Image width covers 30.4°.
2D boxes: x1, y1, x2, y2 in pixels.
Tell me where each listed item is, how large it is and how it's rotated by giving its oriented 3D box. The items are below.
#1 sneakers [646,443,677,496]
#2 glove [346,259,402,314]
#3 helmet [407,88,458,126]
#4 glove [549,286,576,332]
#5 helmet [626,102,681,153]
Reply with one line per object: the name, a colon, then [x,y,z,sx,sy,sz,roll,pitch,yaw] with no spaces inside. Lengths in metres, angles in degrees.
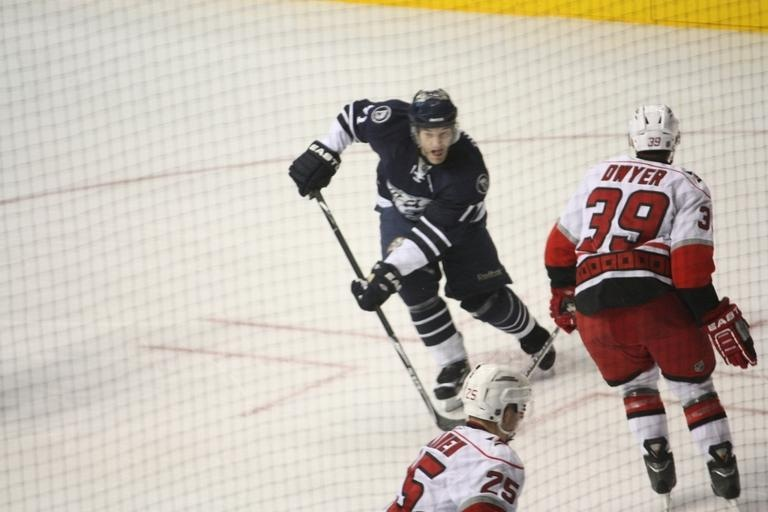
sneakers: [1.760,1.352,8.995,0.216,0.323,0.127,-9,24,19]
glove: [-0.018,0.203,9.606,0.362,0.179,0.413,-23,25,12]
helmet: [0.331,-0.977,9.515,0.365,0.313,0.387,-5,24,-1]
glove: [1.184,0.336,9.406,0.124,0.255,0.295,-22,16,27]
helmet: [1.740,-0.773,9.173,0.354,0.294,0.388,0,-1,11]
